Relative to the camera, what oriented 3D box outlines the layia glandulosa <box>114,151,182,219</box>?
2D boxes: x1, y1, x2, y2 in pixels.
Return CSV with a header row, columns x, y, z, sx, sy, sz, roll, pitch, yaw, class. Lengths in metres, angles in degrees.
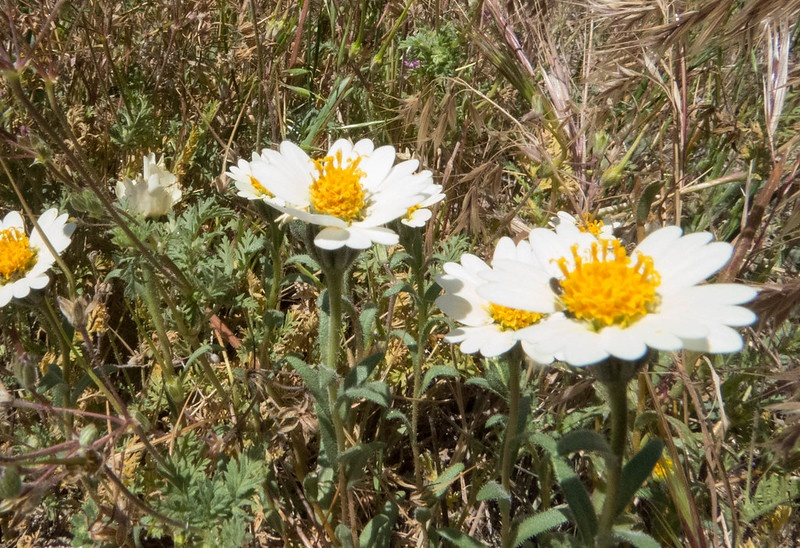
x,y,z,sx,sy,sz,roll,pitch,yaw,class
-1.407,-0.460,3.730,0.362,0.361,0.342,3,29,0,layia glandulosa
